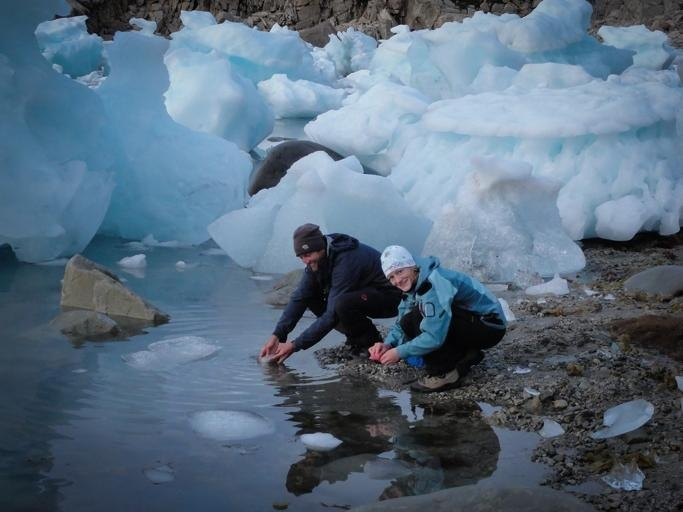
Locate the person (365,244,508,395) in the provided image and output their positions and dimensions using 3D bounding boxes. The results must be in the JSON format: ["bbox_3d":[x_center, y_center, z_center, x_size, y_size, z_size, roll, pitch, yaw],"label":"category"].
[{"bbox_3d":[0.568,0.392,4.396,0.955,0.629,0.599,-6,2,-26],"label":"person"}]

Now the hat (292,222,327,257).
[{"bbox_3d":[-0.231,-0.125,4.673,0.208,0.159,0.246,5,17,44],"label":"hat"}]

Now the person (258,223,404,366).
[{"bbox_3d":[-0.084,0.234,4.900,1.229,0.764,0.788,-13,9,-28],"label":"person"}]

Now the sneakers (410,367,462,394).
[{"bbox_3d":[0.597,0.784,4.357,0.382,0.121,0.118,-2,0,2],"label":"sneakers"}]

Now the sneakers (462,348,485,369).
[{"bbox_3d":[0.820,0.631,4.413,0.128,0.108,0.154,-8,-12,36],"label":"sneakers"}]

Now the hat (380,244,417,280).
[{"bbox_3d":[0.350,0.031,4.255,0.200,0.200,0.190,-1,28,5],"label":"hat"}]
